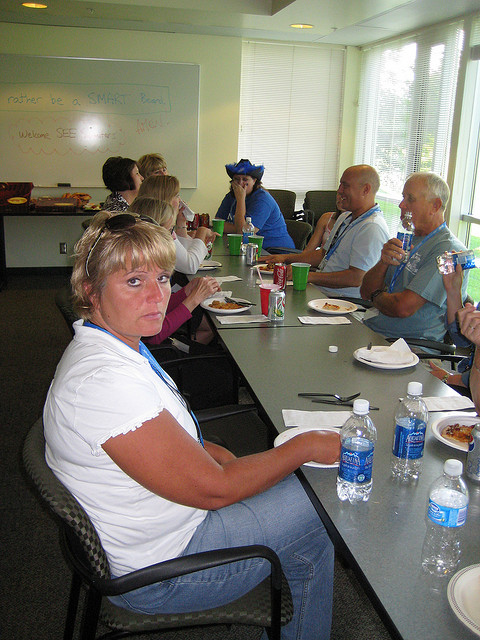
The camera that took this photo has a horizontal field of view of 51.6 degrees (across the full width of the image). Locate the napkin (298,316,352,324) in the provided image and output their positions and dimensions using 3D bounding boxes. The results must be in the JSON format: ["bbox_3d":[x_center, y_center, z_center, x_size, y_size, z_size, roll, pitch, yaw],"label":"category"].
[{"bbox_3d":[0.383,-0.003,2.257,0.229,0.012,0.127,2,14,-2],"label":"napkin"}]

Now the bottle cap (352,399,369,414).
[{"bbox_3d":[0.224,0.157,0.917,0.027,0.018,0.026,0,10,-14],"label":"bottle cap"}]

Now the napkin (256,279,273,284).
[{"bbox_3d":[0.140,-0.224,2.850,0.075,0.016,0.066,1,13,-9],"label":"napkin"}]

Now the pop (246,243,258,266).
[{"bbox_3d":[0.083,-0.444,3.341,0.075,0.150,0.178,3,14,-1],"label":"pop"}]

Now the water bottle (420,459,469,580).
[{"bbox_3d":[0.331,0.281,0.780,0.069,0.176,0.204,9,16,23],"label":"water bottle"}]

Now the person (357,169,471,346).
[{"bbox_3d":[0.909,-0.296,2.641,0.543,0.946,0.532,-19,29,-36],"label":"person"}]

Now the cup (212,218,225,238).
[{"bbox_3d":[-0.186,-0.831,4.467,0.150,0.149,0.147,1,20,0],"label":"cup"}]

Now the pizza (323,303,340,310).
[{"bbox_3d":[0.446,-0.067,2.414,0.085,0.014,0.071,0,14,-12],"label":"pizza"}]

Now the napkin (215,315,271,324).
[{"bbox_3d":[0.015,-0.009,2.244,0.225,0.018,0.121,-1,14,-14],"label":"napkin"}]

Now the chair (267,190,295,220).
[{"bbox_3d":[0.494,-1.297,5.582,0.294,0.375,0.341,-1,17,-3],"label":"chair"}]

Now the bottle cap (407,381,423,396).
[{"bbox_3d":[0.359,0.138,1.037,0.034,0.023,0.033,3,12,4],"label":"bottle cap"}]

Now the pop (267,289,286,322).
[{"bbox_3d":[0.161,-0.064,2.205,0.066,0.136,0.048,4,15,5],"label":"pop"}]

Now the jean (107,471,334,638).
[{"bbox_3d":[-0.094,0.463,1.282,0.565,0.349,0.447,1,11,-16],"label":"jean"}]

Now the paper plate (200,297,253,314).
[{"bbox_3d":[-0.064,-0.078,2.439,0.254,0.034,0.299,-1,14,-15],"label":"paper plate"}]

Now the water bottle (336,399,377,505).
[{"bbox_3d":[0.236,0.228,0.990,0.075,0.190,0.206,7,15,15],"label":"water bottle"}]

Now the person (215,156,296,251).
[{"bbox_3d":[0.129,-0.950,4.621,0.747,1.026,0.619,-11,22,-30],"label":"person"}]

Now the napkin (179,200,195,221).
[{"bbox_3d":[-0.386,-0.799,3.665,0.034,0.071,0.182,-25,43,-2],"label":"napkin"}]

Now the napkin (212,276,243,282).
[{"bbox_3d":[-0.072,-0.257,3.052,0.185,0.017,0.129,-6,16,-32],"label":"napkin"}]

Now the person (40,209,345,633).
[{"bbox_3d":[-0.077,0.244,1.027,0.621,0.886,0.470,-3,16,-20],"label":"person"}]

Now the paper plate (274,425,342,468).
[{"bbox_3d":[0.156,0.271,1.141,0.144,0.040,0.183,6,14,11],"label":"paper plate"}]

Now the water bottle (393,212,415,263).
[{"bbox_3d":[0.851,-0.423,2.565,0.084,0.264,0.312,8,15,17],"label":"water bottle"}]

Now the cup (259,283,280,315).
[{"bbox_3d":[0.117,-0.101,2.368,0.146,0.155,0.123,1,15,-5],"label":"cup"}]

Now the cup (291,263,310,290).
[{"bbox_3d":[0.340,-0.259,2.876,0.142,0.147,0.135,1,21,0],"label":"cup"}]

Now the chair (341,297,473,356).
[{"bbox_3d":[0.822,0.081,2.420,0.546,0.344,0.338,-10,6,-25],"label":"chair"}]

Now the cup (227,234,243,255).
[{"bbox_3d":[-0.026,-0.592,3.851,0.154,0.154,0.146,2,21,-1],"label":"cup"}]

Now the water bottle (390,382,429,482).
[{"bbox_3d":[0.340,0.233,1.048,0.086,0.204,0.081,2,11,0],"label":"water bottle"}]
